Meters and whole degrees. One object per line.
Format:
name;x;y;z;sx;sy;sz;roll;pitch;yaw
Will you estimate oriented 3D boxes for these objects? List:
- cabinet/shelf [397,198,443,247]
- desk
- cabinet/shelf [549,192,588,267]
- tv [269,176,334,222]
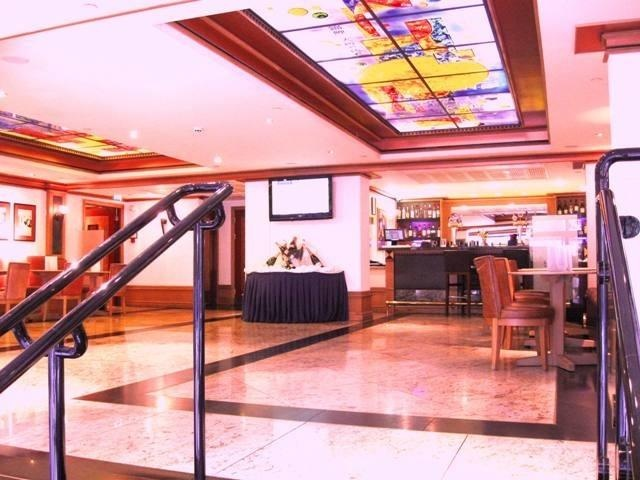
cabinet/shelf;3.064;-0.564;14.410;1.814;1.388;0.555;1;1;17
desk;-0.487;1.097;9.493;2.050;1.011;0.535;0;-2;-8
cabinet/shelf;6.905;-0.413;13.114;0.801;1.859;1.026;-1;-2;19
tv;-0.334;-0.868;9.977;1.211;0.655;0.108;-1;-6;16
